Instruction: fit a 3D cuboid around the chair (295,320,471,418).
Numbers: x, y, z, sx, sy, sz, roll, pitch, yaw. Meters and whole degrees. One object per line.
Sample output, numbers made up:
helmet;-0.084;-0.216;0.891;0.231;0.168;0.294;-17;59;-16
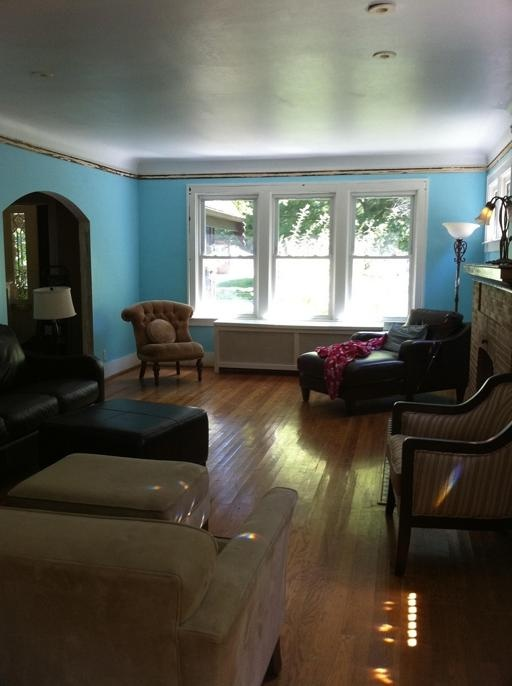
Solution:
chair;1.238;0.179;4.840;1.266;0.689;0.836;-2;4;-27

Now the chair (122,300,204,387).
chair;-1.025;-0.041;5.852;0.799;0.843;0.873;6;8;38

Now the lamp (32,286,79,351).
lamp;-2.074;-0.260;5.302;0.482;0.751;0.485;-13;22;-20

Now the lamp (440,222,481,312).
lamp;2.330;-0.866;5.762;0.385;1.045;0.789;3;7;21
